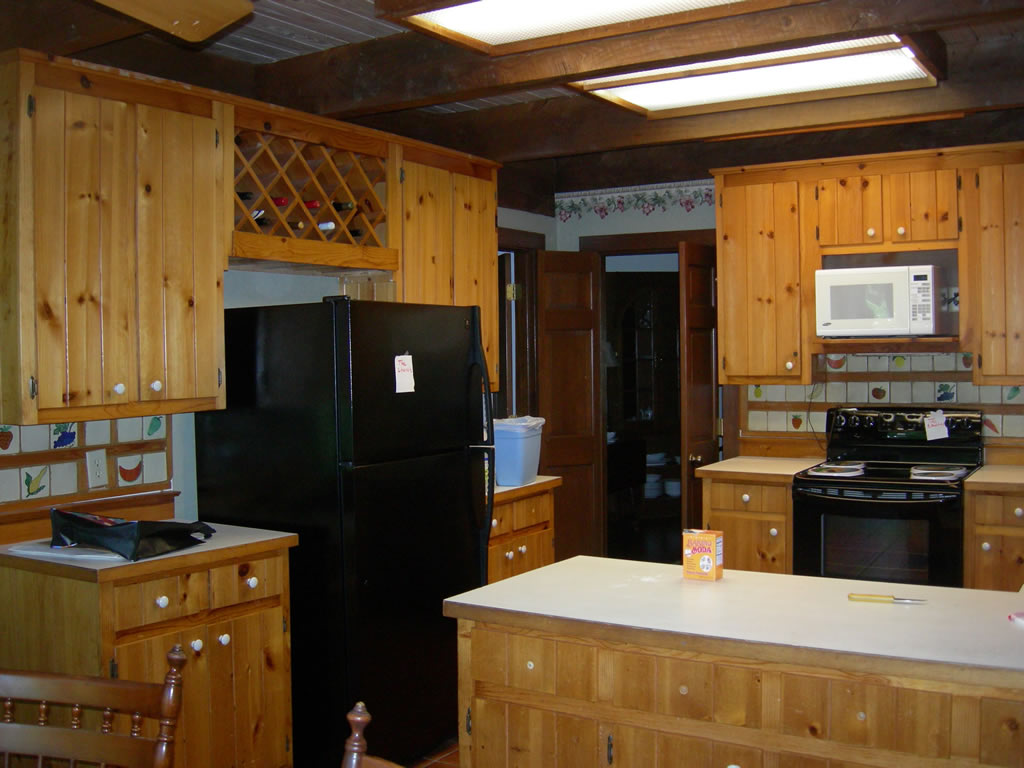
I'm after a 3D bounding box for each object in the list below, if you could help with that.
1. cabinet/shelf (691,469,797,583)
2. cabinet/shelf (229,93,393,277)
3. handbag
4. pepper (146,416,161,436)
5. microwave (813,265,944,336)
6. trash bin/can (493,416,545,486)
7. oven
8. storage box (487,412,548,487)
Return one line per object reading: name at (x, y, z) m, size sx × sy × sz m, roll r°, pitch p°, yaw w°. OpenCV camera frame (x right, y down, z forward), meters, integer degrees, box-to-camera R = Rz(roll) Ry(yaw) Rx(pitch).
cabinet/shelf at (1.327, 0.802, 5.039) m, size 0.612 × 0.794 × 0.601 m, roll -2°, pitch -4°, yaw 31°
cabinet/shelf at (-0.902, -0.842, 3.845) m, size 0.236 × 0.657 × 0.943 m, roll 3°, pitch 6°, yaw 36°
handbag at (-1.332, 0.548, 3.156) m, size 0.270 × 0.084 × 0.268 m, roll 3°, pitch -1°, yaw 28°
pepper at (-1.551, 0.193, 3.716) m, size 0.079 × 0.068 × 0.061 m, roll -6°, pitch 7°, yaw -35°
microwave at (1.964, -0.418, 4.686) m, size 0.712 × 0.420 × 0.387 m, roll -1°, pitch -2°, yaw 34°
trash bin/can at (0.112, 0.347, 4.513) m, size 0.317 × 0.303 × 0.368 m, roll -1°, pitch -2°, yaw 21°
oven at (1.958, 0.772, 4.630) m, size 0.816 × 0.714 × 0.532 m, roll -1°, pitch -5°, yaw 31°
storage box at (0.067, 0.349, 4.478) m, size 0.321 × 0.309 × 0.372 m, roll -1°, pitch -2°, yaw 19°
